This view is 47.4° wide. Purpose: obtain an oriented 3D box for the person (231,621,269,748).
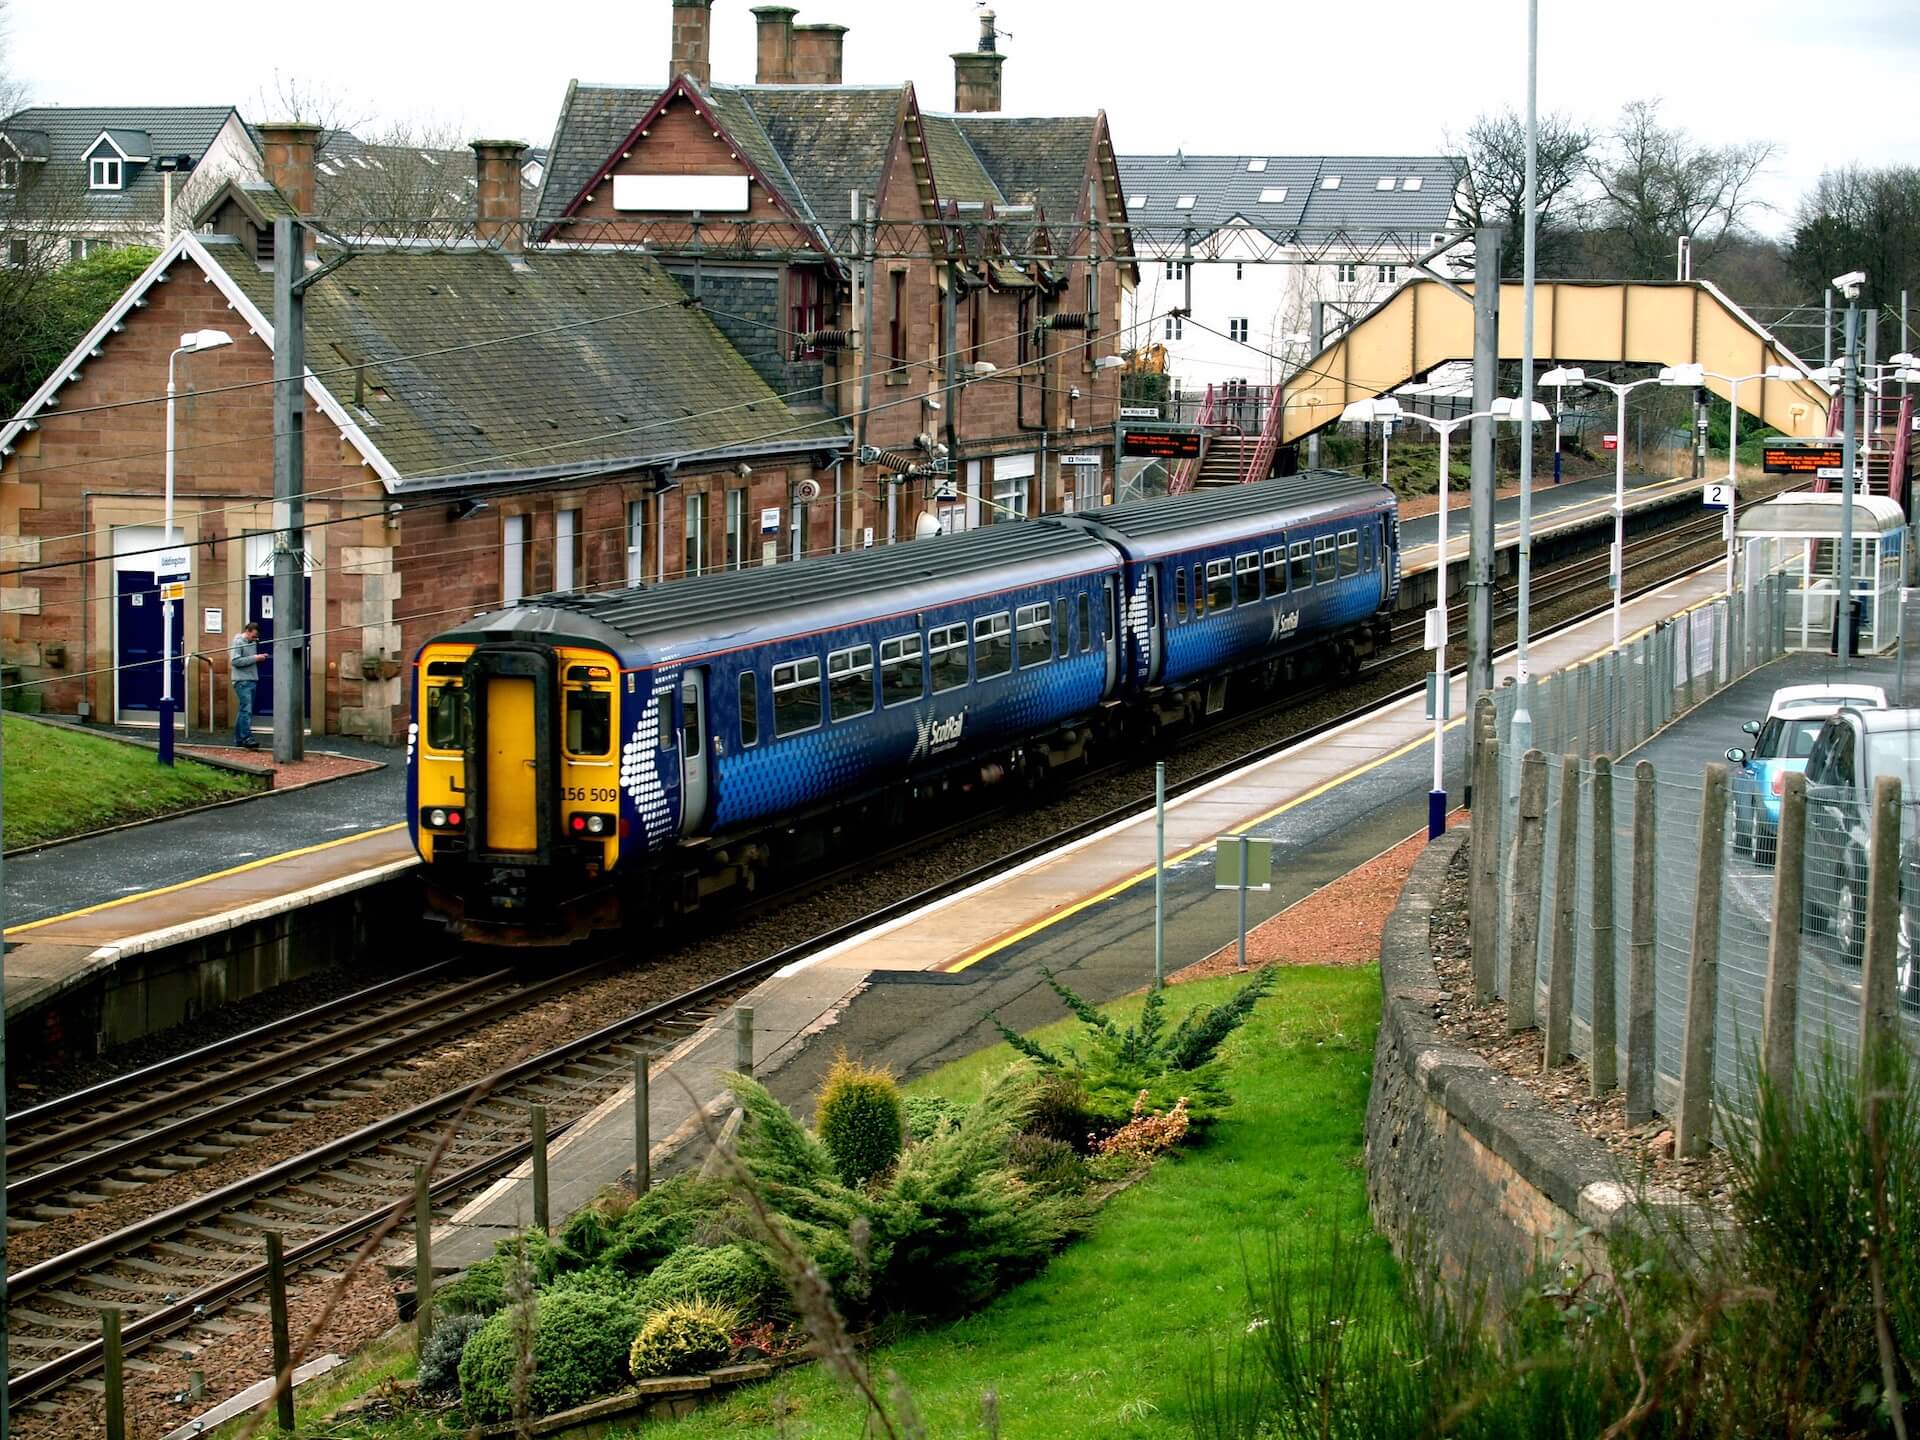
[{"bbox_3d":[-10.705,-0.434,32.932,0.405,1.764,1.231,-5,8,-18],"label":"person"}]
